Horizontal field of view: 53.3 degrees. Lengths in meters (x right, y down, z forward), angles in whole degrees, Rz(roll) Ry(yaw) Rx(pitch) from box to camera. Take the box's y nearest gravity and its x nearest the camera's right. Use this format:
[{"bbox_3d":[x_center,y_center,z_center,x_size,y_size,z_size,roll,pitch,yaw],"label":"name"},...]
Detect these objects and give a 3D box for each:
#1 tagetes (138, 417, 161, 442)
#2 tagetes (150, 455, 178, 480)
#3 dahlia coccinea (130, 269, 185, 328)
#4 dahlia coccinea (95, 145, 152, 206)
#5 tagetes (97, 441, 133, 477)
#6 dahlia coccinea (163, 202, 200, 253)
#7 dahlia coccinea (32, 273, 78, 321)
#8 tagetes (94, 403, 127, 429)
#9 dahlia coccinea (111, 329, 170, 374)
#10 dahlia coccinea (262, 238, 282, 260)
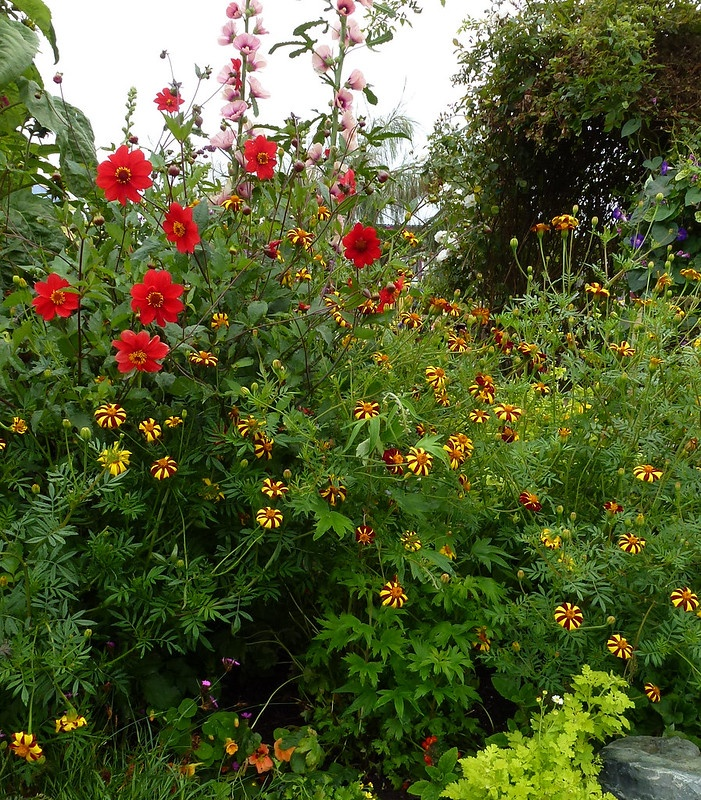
[{"bbox_3d":[-0.462,0.072,1.613,0.042,0.052,0.101,-2,-3,-18],"label":"tagetes"},{"bbox_3d":[-0.416,0.156,1.561,0.052,0.046,0.052,-2,-3,-13],"label":"tagetes"},{"bbox_3d":[-0.445,-0.225,1.605,0.110,0.122,0.175,-2,-3,-17],"label":"dahlia coccinea"},{"bbox_3d":[-0.543,-0.546,1.673,0.119,0.170,0.164,-2,-4,-18],"label":"dahlia coccinea"},{"bbox_3d":[-0.493,0.128,1.456,0.061,0.071,0.082,-2,-4,-19],"label":"tagetes"},{"bbox_3d":[-0.392,-0.393,1.617,0.076,0.096,0.145,-3,-3,5],"label":"dahlia coccinea"},{"bbox_3d":[-0.675,-0.225,1.598,0.097,0.106,0.162,-1,-4,-26],"label":"dahlia coccinea"},{"bbox_3d":[-0.533,0.036,1.548,0.059,0.056,0.108,-2,-3,-22],"label":"tagetes"},{"bbox_3d":[-0.462,-0.105,1.542,0.112,0.086,0.072,-2,-4,-17],"label":"dahlia coccinea"},{"bbox_3d":[-0.194,-0.375,1.756,0.031,0.054,0.062,9,23,-8],"label":"dahlia coccinea"}]
